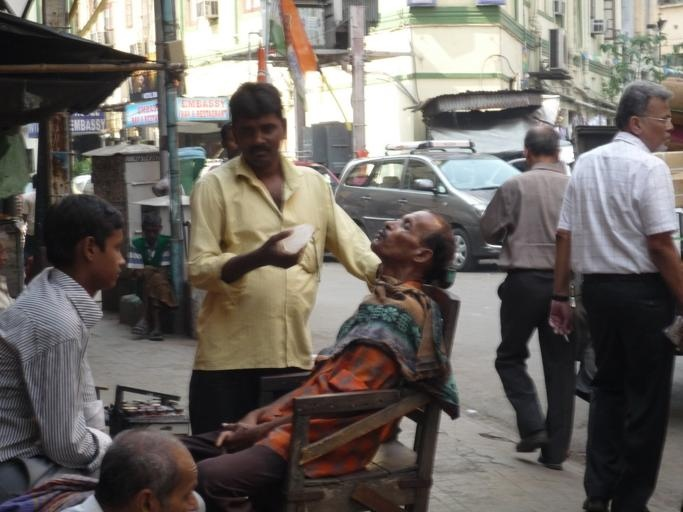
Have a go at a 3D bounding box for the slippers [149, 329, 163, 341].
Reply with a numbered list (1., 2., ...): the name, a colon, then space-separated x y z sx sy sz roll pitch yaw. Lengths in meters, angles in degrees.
1. slippers: -2.085 0.903 10.055 0.156 0.113 0.231 -2 8 -12

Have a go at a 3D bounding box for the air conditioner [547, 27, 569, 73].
1. air conditioner: 7.604 -7.213 31.291 0.830 2.184 2.542 0 3 13

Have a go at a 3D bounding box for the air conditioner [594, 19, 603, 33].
1. air conditioner: 10.837 -9.611 37.500 0.550 0.504 0.523 0 -1 4

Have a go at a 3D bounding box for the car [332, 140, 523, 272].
1. car: 1.552 -0.938 15.605 1.938 1.585 3.293 -1 0 -39

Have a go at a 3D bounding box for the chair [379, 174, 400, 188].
1. chair: 0.875 -1.276 15.610 0.305 0.254 0.232 -4 -4 10

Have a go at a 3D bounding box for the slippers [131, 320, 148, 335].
1. slippers: -2.297 0.831 10.148 0.173 0.176 0.196 -3 8 -22

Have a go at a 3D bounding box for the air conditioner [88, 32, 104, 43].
1. air conditioner: -10.600 -9.474 38.627 0.469 0.427 1.974 -3 8 -18

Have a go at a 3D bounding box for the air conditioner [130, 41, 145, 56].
1. air conditioner: -8.179 -8.341 35.780 0.487 0.547 1.292 -3 8 -21
